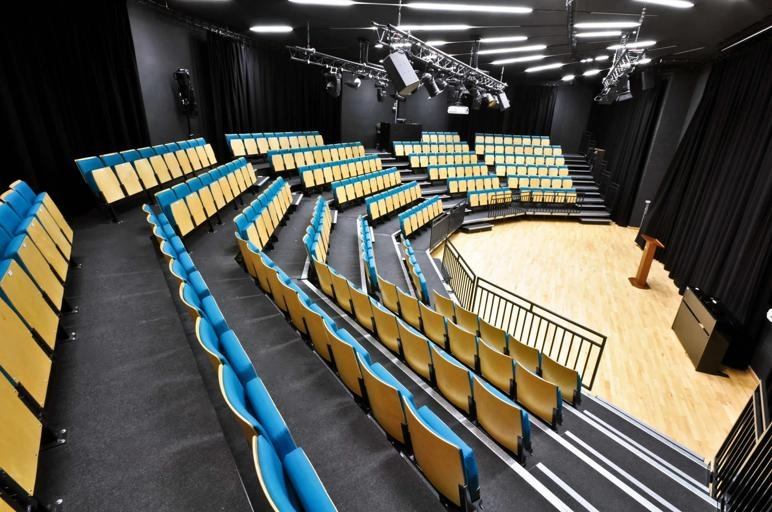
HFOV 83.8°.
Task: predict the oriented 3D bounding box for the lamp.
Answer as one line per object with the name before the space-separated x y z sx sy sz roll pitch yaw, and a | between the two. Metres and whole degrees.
lamp | 0.690 -3.499 8.269 4.287 0.884 2.719 5 27 -49

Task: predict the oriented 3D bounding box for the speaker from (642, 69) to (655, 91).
speaker | 4.936 -3.315 8.072 0.215 0.331 0.403 11 27 24

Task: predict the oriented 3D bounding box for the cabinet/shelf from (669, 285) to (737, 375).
cabinet/shelf | 4.238 1.013 5.693 0.424 0.716 0.845 5 24 8
